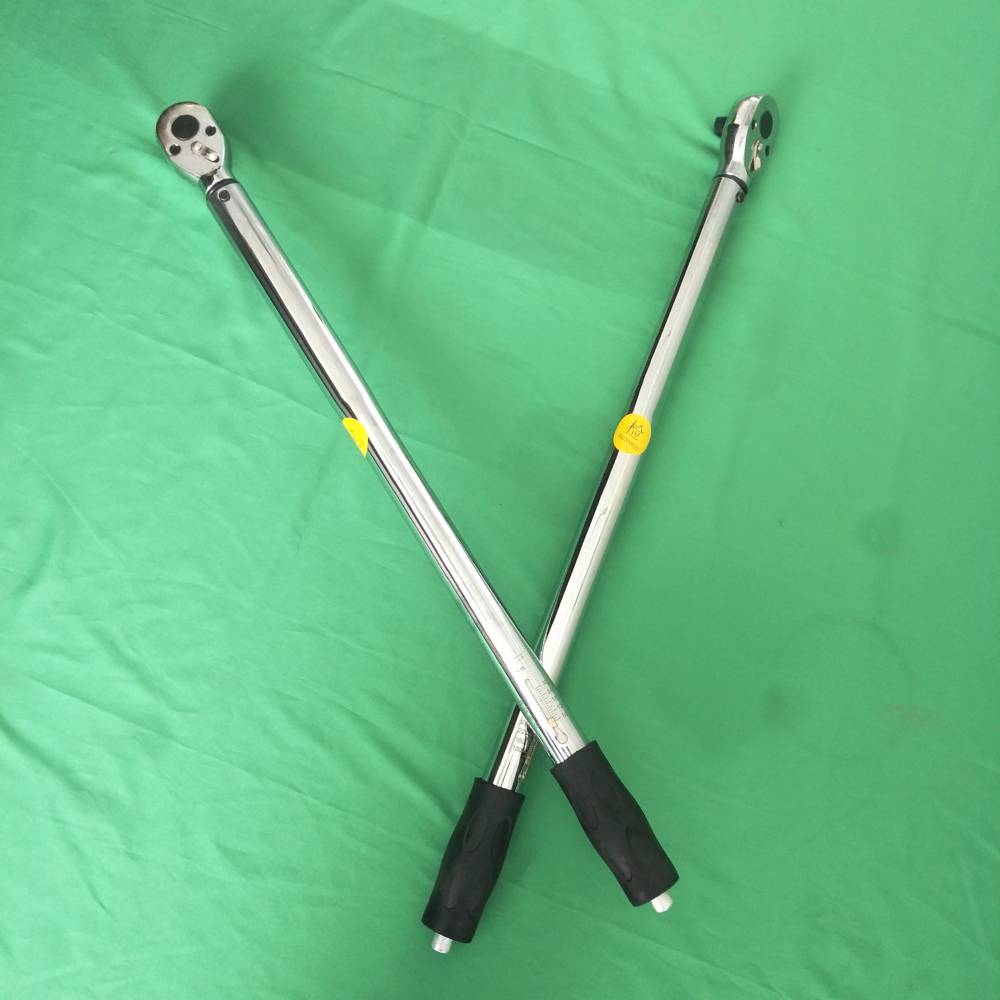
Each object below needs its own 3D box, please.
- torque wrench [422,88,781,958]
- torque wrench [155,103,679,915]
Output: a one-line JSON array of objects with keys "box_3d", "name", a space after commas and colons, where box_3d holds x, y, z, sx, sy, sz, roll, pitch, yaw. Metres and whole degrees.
[{"box_3d": [0.084, 0.045, 0.902, 0.066, 0.069, 0.722, 20, -93, -28], "name": "torque wrench"}, {"box_3d": [-0.076, 0.033, 0.904, 0.064, 0.064, 0.733, -31, -102, 16], "name": "torque wrench"}]
